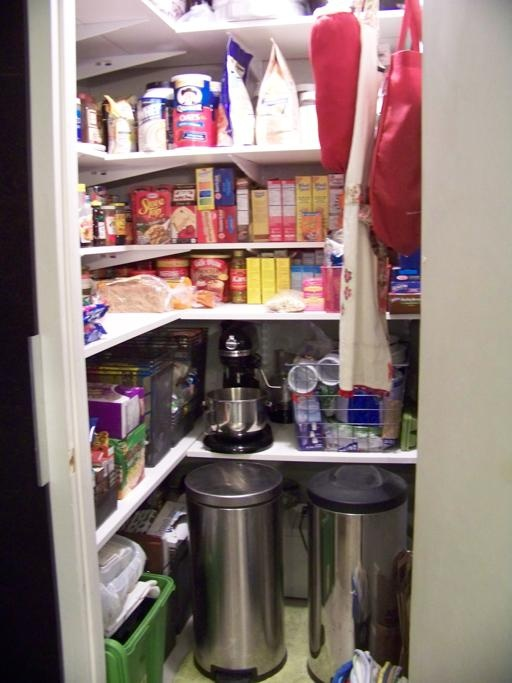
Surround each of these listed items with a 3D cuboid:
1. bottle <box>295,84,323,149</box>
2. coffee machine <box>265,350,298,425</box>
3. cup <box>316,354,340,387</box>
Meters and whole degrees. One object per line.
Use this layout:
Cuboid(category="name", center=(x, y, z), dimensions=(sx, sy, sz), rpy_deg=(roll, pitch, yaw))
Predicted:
Cuboid(category="bottle", center=(0.153, -0.686, 1.771), dimensions=(0.053, 0.174, 0.076), rpy_deg=(-2, 10, 3))
Cuboid(category="coffee machine", center=(0.103, 0.168, 2.203), dimensions=(0.103, 0.250, 0.119), rpy_deg=(1, 15, 7))
Cuboid(category="cup", center=(0.215, 0.084, 1.743), dimensions=(0.060, 0.093, 0.093), rpy_deg=(3, 20, 17))
